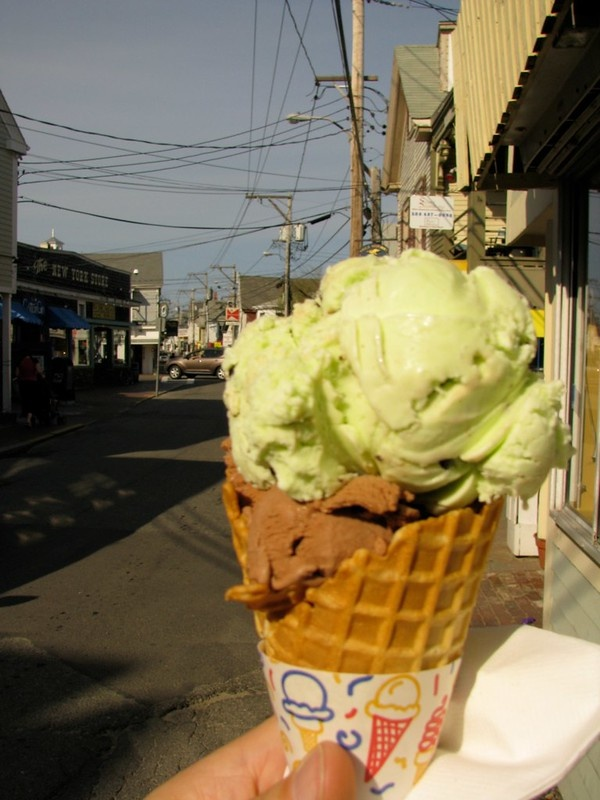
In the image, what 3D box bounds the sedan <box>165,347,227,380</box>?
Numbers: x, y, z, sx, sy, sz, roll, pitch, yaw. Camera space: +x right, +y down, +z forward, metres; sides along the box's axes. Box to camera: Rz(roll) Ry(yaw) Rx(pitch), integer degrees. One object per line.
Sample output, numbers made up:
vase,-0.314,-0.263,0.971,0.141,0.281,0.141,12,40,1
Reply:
sedan,-5.179,-1.805,34.804,2.909,1.524,1.657,0,7,7
